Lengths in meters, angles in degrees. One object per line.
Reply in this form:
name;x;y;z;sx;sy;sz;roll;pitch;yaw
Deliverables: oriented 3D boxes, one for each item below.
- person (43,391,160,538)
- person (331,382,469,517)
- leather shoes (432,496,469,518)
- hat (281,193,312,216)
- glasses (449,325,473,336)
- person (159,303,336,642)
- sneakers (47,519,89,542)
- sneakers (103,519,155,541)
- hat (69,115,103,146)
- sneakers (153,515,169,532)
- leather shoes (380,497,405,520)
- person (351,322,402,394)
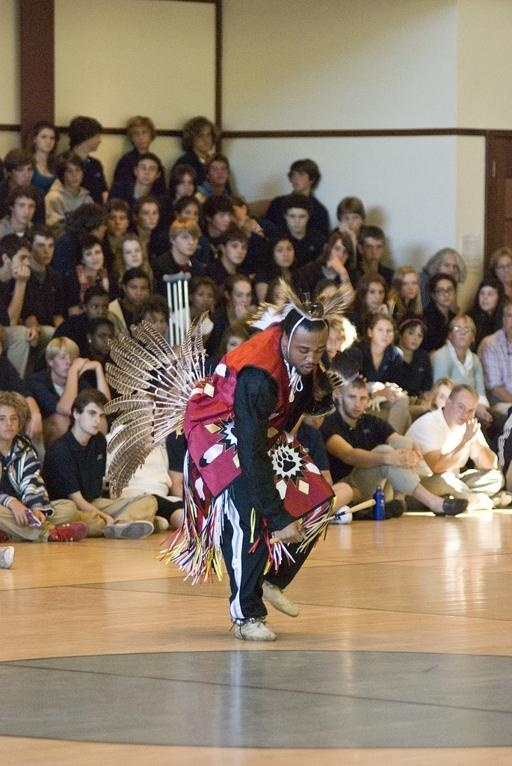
person;-0.817;0.460;4.507;0.587;0.784;0.892;-6;8;-43
person;0.881;0.433;5.274;1.039;0.758;0.500;10;22;40
leather shoes;1.314;0.839;5.364;0.197;0.122;0.175;-1;0;-4
hat;0.327;-1.496;6.661;0.178;0.185;0.206;1;6;3
glasses;1.663;-0.432;6.481;0.105;0.093;0.030;2;18;11
person;0.012;0.235;2.121;0.395;0.907;0.481;-1;1;-20
sneakers;-1.000;0.781;4.201;0.227;0.064;0.090;-5;0;-11
sneakers;-0.691;0.806;4.357;0.296;0.092;0.106;1;0;-2
hat;-1.423;-2.076;6.609;0.252;0.305;0.166;-1;1;-11
sneakers;-0.565;0.825;4.669;0.108;0.107;0.292;-1;-6;-7
leather shoes;0.899;0.839;5.276;0.110;0.123;0.240;-1;0;30
person;1.001;-0.193;6.126;0.372;0.256;0.758;-2;38;-2
